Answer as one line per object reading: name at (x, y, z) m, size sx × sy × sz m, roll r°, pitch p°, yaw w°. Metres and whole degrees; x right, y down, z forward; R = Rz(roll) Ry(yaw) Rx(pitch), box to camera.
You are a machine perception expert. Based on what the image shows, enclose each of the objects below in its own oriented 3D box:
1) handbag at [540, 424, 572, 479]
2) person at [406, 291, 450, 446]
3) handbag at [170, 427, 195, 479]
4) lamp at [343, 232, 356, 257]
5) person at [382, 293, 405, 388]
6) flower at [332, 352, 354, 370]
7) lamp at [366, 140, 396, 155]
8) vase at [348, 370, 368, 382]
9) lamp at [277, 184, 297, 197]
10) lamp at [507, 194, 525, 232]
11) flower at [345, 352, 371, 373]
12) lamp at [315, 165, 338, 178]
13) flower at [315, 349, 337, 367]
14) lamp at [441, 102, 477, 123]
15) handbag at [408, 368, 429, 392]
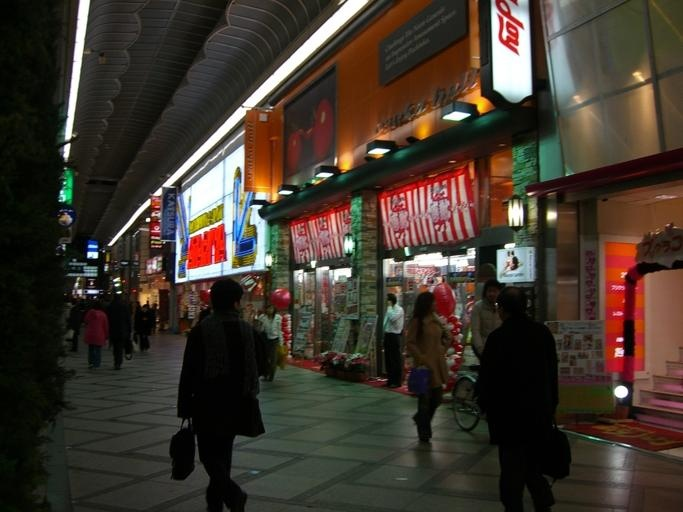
handbag at (1.584, 1.444, 4.240) m, size 0.212 × 0.382 × 0.137 m, roll -3°, pitch -5°, yaw 11°
person at (1.084, 1.334, 7.048) m, size 0.523 × 1.792 × 0.378 m, roll 3°, pitch -7°, yaw -41°
handbag at (-1.173, 1.453, 4.296) m, size 0.126 × 0.346 × 0.262 m, roll 8°, pitch -8°, yaw -25°
lamp at (0.192, -0.251, 13.101) m, size 0.182 × 0.537 × 0.392 m, roll -1°, pitch -5°, yaw -13°
person at (1.006, 1.597, 10.957) m, size 0.398 × 1.735 × 0.297 m, roll -2°, pitch -5°, yaw 2°
flower at (0.036, 2.172, 11.982) m, size 0.336 × 0.201 × 0.358 m, roll 0°, pitch -1°, yaw 43°
lamp at (0.723, -2.077, 11.353) m, size 0.505 × 0.236 × 0.670 m, roll 0°, pitch -4°, yaw -27°
vase at (0.353, 2.440, 11.730) m, size 0.361 × 0.185 × 0.220 m, roll -2°, pitch -4°, yaw -2°
lamp at (-1.427, -1.747, 15.409) m, size 0.500 × 0.271 × 0.382 m, roll -1°, pitch -5°, yaw -18°
lamp at (2.662, -0.642, 8.726) m, size 0.259 × 0.540 × 0.203 m, roll -5°, pitch -6°, yaw 32°
flower at (0.363, 2.208, 11.907) m, size 0.442 × 0.351 × 0.586 m, roll -4°, pitch -5°, yaw 28°
lamp at (-0.343, -1.954, 13.439) m, size 0.499 × 0.306 × 0.569 m, roll 0°, pitch -5°, yaw -26°
flower at (-0.317, 2.235, 12.610) m, size 0.571 × 0.309 × 0.520 m, roll -2°, pitch -1°, yaw 15°
lamp at (1.877, -2.280, 9.156) m, size 0.490 × 0.210 × 0.404 m, roll 1°, pitch -5°, yaw -34°
handbag at (0.947, 1.499, 6.926) m, size 0.281 × 0.325 × 0.180 m, roll -3°, pitch -5°, yaw 6°
